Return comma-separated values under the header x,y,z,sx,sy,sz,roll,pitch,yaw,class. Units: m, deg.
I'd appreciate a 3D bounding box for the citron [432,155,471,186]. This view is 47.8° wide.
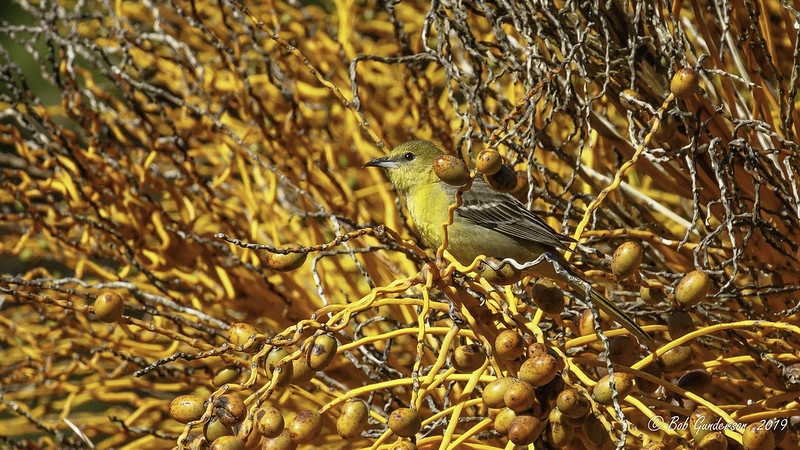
x,y,z,sx,sy,sz,roll,pitch,yaw,class
0.249,-0.252,4.281,0.112,0.175,0.105,-27,32,61,citron

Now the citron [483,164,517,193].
x,y,z,sx,sy,sz,roll,pitch,yaw,class
0.483,-0.236,4.365,0.148,0.116,0.089,0,25,3,citron

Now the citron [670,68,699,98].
x,y,z,sx,sy,sz,roll,pitch,yaw,class
1.368,-0.679,4.369,0.109,0.114,0.146,-8,24,40,citron

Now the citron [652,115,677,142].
x,y,z,sx,sy,sz,roll,pitch,yaw,class
1.359,-0.503,4.651,0.120,0.136,0.115,11,16,3,citron
